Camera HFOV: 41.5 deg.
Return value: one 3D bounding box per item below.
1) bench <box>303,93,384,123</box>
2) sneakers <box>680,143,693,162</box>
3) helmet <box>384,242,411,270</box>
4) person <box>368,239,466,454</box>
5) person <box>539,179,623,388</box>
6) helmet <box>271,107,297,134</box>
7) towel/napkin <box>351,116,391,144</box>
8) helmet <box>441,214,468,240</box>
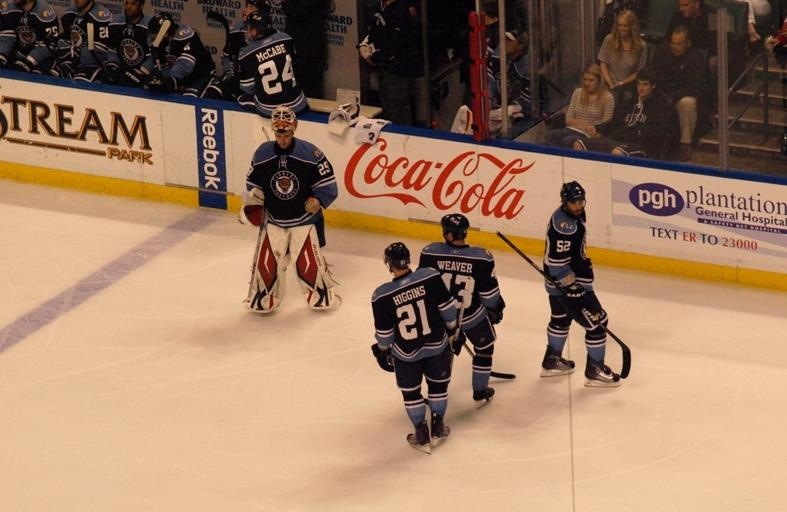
[{"bbox_3d":[-0.812,-1.815,12.718,0.789,0.297,0.165,11,-29,3],"label":"bench"},{"bbox_3d":[3.159,-1.104,11.220,0.107,0.190,0.089,23,15,30],"label":"sneakers"},{"bbox_3d":[0.026,0.010,9.200,0.206,0.214,0.239,-4,14,-11],"label":"helmet"},{"bbox_3d":[0.178,0.850,9.329,0.774,1.886,0.400,3,17,0],"label":"person"},{"bbox_3d":[1.901,0.321,10.463,0.982,2.201,1.024,-12,37,-1],"label":"person"},{"bbox_3d":[-1.142,-1.402,10.870,0.254,0.247,0.318,0,-4,-1],"label":"helmet"},{"bbox_3d":[-0.292,-1.473,12.176,0.354,0.327,0.091,4,-28,12],"label":"towel/napkin"},{"bbox_3d":[0.554,-0.254,9.474,0.223,0.216,0.204,2,16,-4],"label":"helmet"}]
